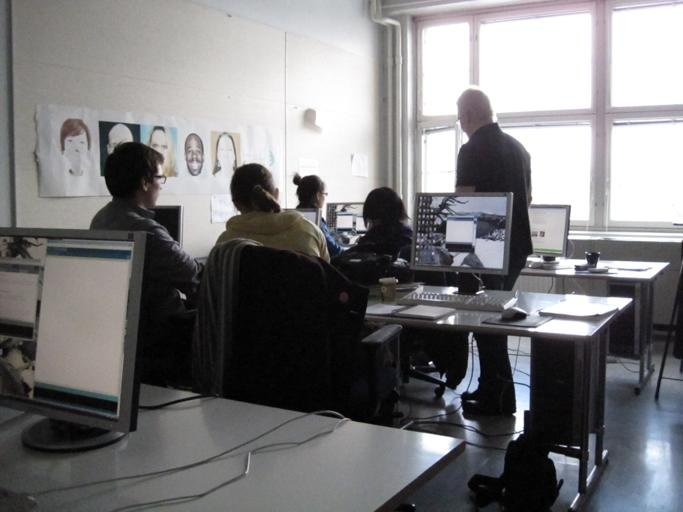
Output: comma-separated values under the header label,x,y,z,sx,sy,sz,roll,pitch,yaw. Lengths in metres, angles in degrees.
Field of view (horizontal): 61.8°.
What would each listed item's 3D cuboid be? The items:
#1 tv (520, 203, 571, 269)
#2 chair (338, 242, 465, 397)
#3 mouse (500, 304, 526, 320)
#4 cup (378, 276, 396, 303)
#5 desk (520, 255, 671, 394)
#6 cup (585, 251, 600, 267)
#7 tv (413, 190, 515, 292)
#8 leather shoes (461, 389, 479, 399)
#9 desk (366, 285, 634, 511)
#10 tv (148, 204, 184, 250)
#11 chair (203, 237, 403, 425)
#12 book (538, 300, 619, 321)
label,x,y,z,sx,sy,sz,roll,pitch,yaw
tv,1.499,-0.150,4.193,0.462,0.542,0.185,3,4,38
chair,0.215,0.325,3.579,0.839,0.994,0.764,6,9,43
mouse,0.736,0.243,2.421,0.105,0.050,0.088,3,11,16
cup,0.224,0.173,2.894,0.097,0.116,0.098,-1,1,0
desk,1.906,0.272,4.312,1.260,0.966,0.866,3,7,35
cup,1.851,0.015,4.248,0.114,0.125,0.122,0,10,0
tv,0.629,-0.088,2.888,0.531,0.422,0.061,3,6,26
leather shoes,0.799,0.846,3.476,0.082,0.044,0.119,-5,0,30
desk,0.926,0.520,2.724,0.955,0.619,0.976,2,5,31
tv,-0.893,-0.152,2.911,0.260,0.311,0.032,-1,-1,6
chair,-0.198,0.247,2.363,0.716,0.856,0.674,4,7,21
book,1.073,0.238,2.544,0.268,0.037,0.379,9,14,38
